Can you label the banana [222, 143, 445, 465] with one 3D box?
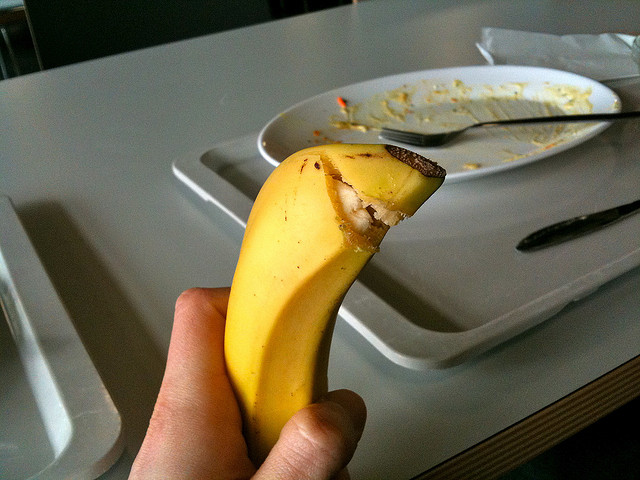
[{"bbox_3d":[-0.008,0.052,0.306,0.104,0.243,0.064,16,30,8],"label":"banana"}]
